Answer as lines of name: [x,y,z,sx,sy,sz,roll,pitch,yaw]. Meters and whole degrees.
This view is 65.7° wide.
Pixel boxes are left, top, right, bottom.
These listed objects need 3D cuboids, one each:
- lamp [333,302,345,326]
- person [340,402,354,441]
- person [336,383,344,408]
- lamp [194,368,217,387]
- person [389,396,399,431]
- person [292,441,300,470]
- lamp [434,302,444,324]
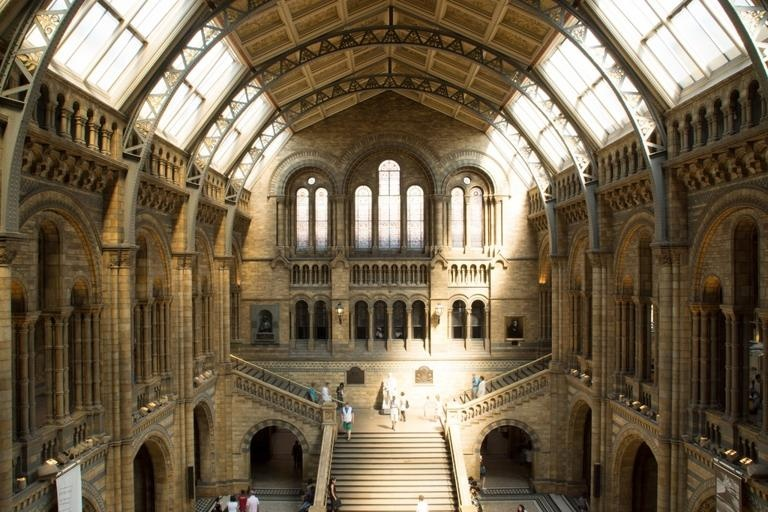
lamp: [-2.769,3.514,36.914,0.574,1.344,0.338,3,-8,-8]
person: [-1.956,8.702,31.420,0.564,1.706,1.533,2,-8,-2]
person: [-2.694,8.358,36.023,0.470,1.463,0.963,2,-8,-4]
lamp: [-8.982,6.023,29.643,0.264,0.381,1.446,-24,-3,5]
person: [0.556,8.494,32.141,0.374,1.622,0.951,2,-8,-1]
person: [-5.154,11.629,34.968,0.651,1.438,0.346,-5,-10,38]
lamp: [3.326,3.523,36.788,0.569,1.297,0.472,-1,-9,19]
